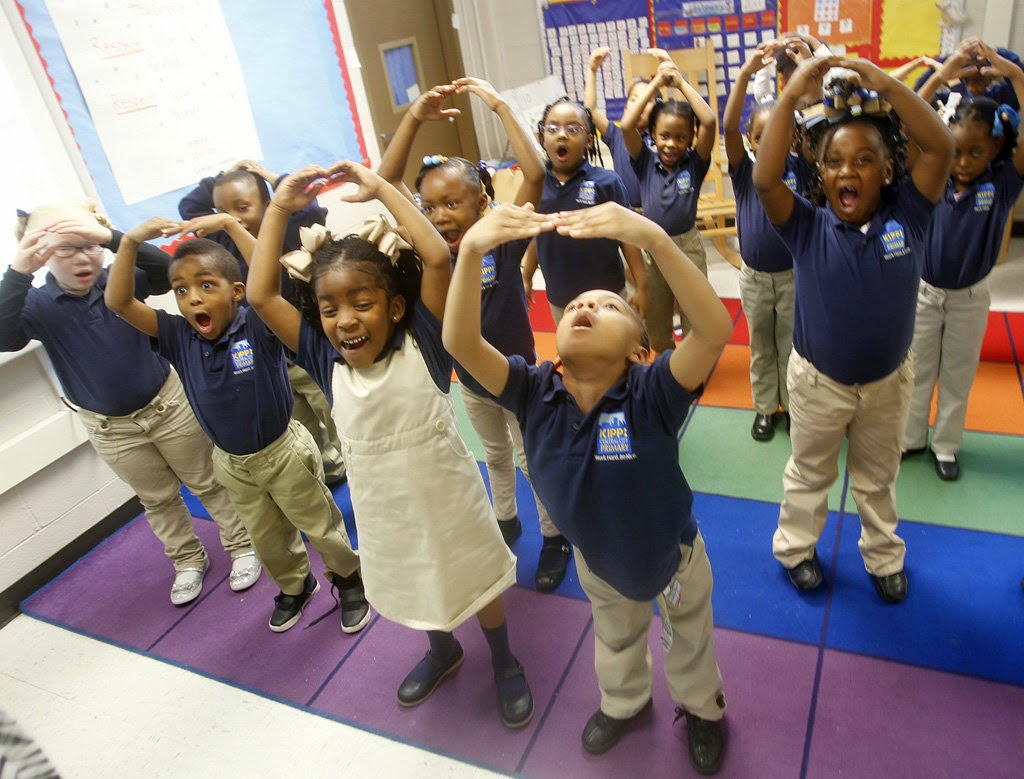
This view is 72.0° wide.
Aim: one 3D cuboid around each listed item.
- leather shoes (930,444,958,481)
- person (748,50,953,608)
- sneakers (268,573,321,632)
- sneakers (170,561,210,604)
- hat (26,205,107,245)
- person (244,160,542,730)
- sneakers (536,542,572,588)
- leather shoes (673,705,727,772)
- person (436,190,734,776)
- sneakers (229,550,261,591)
[{"bbox_3d":[2.371,0.386,3.862,0.074,0.091,0.233,-10,35,18],"label":"leather shoes"},{"bbox_3d":[1.469,-0.175,2.984,0.599,2.275,0.785,-20,31,-25],"label":"person"},{"bbox_3d":[-1.138,1.106,3.713,0.124,0.137,0.345,7,36,15],"label":"sneakers"},{"bbox_3d":[-1.804,1.074,3.971,0.106,0.111,0.298,-4,19,2],"label":"sneakers"},{"bbox_3d":[-2.342,-0.869,3.689,0.384,0.190,0.316,-24,34,-30],"label":"hat"},{"bbox_3d":[-0.453,0.285,2.818,0.781,2.361,0.451,-4,23,7],"label":"person"},{"bbox_3d":[0.219,0.894,3.599,0.100,0.129,0.296,2,23,17],"label":"sneakers"},{"bbox_3d":[0.763,1.378,2.773,0.104,0.109,0.282,-14,61,19],"label":"leather shoes"},{"bbox_3d":[0.344,0.425,2.497,0.940,2.118,0.447,5,29,20],"label":"person"},{"bbox_3d":[-1.496,1.010,3.913,0.105,0.114,0.278,-2,7,-3],"label":"sneakers"}]
